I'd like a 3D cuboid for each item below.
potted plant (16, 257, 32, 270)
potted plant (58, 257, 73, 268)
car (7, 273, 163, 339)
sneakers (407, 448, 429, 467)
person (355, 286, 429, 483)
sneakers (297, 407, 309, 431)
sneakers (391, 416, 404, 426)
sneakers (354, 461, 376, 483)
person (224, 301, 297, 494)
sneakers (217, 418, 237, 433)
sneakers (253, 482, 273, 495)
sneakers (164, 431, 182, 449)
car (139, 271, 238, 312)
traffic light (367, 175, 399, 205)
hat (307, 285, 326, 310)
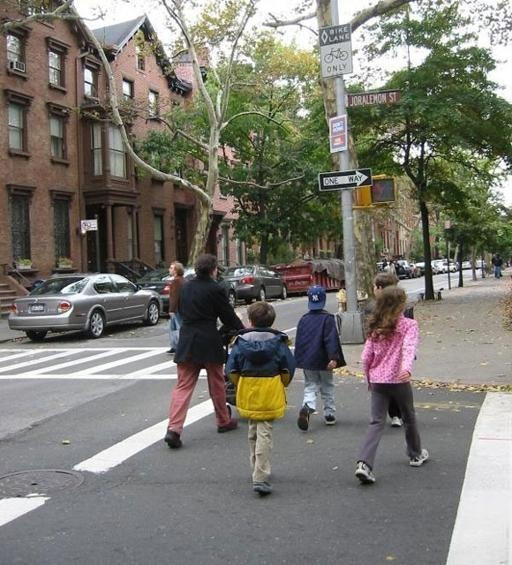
[{"bbox_3d":[-7.994,-0.633,23.309,0.249,0.283,0.656,-2,2,30],"label":"potted plant"},{"bbox_3d":[-7.094,-0.758,25.131,0.399,0.308,0.378,0,1,-16],"label":"potted plant"},{"bbox_3d":[-3.859,0.490,16.329,1.604,1.005,4.377,-2,2,22],"label":"car"},{"bbox_3d":[1.197,1.299,5.010,0.070,0.086,0.181,2,12,35],"label":"sneakers"},{"bbox_3d":[0.944,0.693,4.788,0.496,1.330,0.819,-2,2,14],"label":"person"},{"bbox_3d":[0.431,1.253,6.185,0.085,0.231,0.096,0,-12,10],"label":"sneakers"},{"bbox_3d":[1.336,1.303,6.421,0.112,0.131,0.321,-3,-7,12],"label":"sneakers"},{"bbox_3d":[0.728,1.268,4.493,0.087,0.105,0.208,-4,-19,21],"label":"sneakers"},{"bbox_3d":[0.037,0.762,4.697,0.489,1.257,0.663,-3,2,-1],"label":"person"},{"bbox_3d":[-0.255,1.341,6.361,0.079,0.143,0.202,9,16,32],"label":"sneakers"},{"bbox_3d":[0.041,1.339,4.403,0.053,0.069,0.157,-1,-6,13],"label":"sneakers"},{"bbox_3d":[-0.693,1.333,5.689,0.075,0.103,0.218,0,-3,13],"label":"sneakers"},{"bbox_3d":[-2.579,0.327,20.238,1.369,1.113,3.007,0,4,27],"label":"car"},{"bbox_3d":[2.114,-1.567,11.310,0.429,0.467,0.291,-2,2,10],"label":"traffic light"},{"bbox_3d":[0.583,0.145,6.489,0.155,0.244,0.452,-2,2,4],"label":"hat"}]
